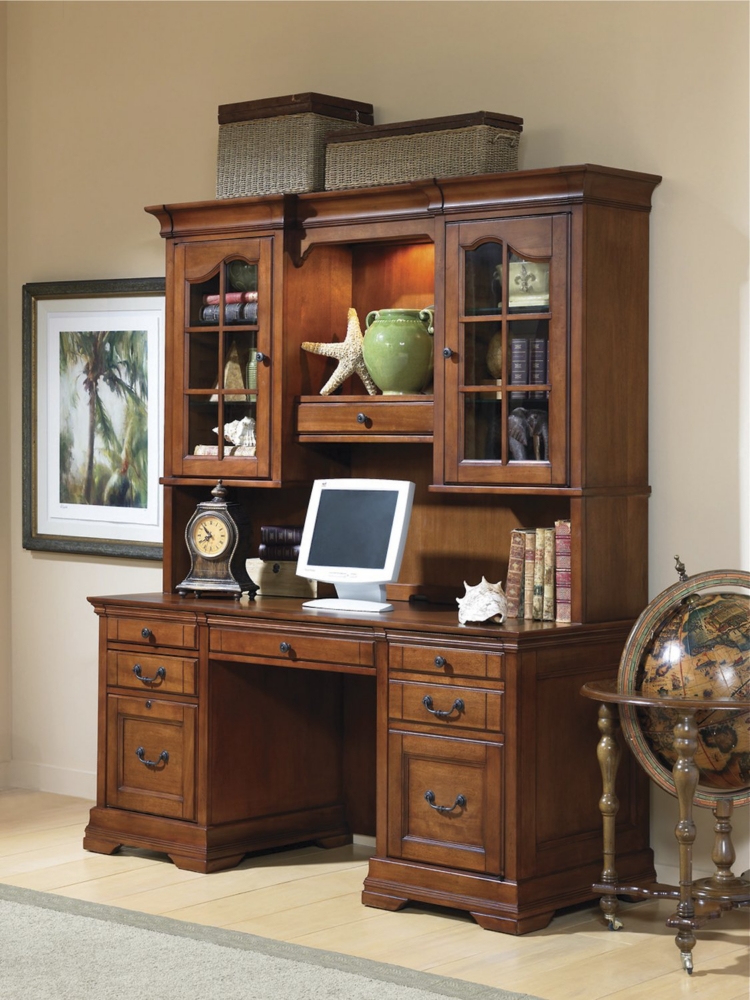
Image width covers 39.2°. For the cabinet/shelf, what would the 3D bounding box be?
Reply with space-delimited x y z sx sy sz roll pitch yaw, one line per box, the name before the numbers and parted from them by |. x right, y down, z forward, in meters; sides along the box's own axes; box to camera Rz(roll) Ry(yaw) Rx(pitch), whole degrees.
cabinet/shelf | 0.039 -0.188 3.187 1.624 1.374 0.457 6 7 42

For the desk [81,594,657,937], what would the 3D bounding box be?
desk | -0.071 0.718 3.068 1.546 0.701 0.553 -6 -9 40

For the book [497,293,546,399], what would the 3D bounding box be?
book | 0.379 -0.398 2.665 0.148 0.245 0.034 -5 -8 37

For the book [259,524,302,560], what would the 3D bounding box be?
book | -0.301 0.133 3.328 0.117 0.069 0.113 1 4 6

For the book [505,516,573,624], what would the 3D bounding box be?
book | 0.414 0.189 2.690 0.100 0.261 0.231 3 -7 -20

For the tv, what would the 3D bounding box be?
tv | -0.046 0.130 3.049 0.387 0.415 0.193 0 -5 37

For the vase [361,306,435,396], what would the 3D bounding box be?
vase | 0.073 -0.434 3.032 0.246 0.263 0.249 -10 15 -44
